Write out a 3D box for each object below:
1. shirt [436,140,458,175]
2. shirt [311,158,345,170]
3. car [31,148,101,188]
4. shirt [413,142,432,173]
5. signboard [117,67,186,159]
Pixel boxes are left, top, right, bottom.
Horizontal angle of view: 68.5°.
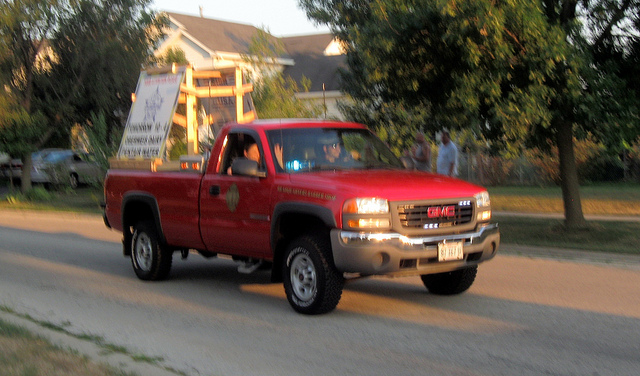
[{"bbox_3d":[3.769,-0.882,14.022,0.256,1.006,0.676,1,-1,-39],"label":"shirt"},{"bbox_3d":[0.149,-0.420,8.308,0.614,0.225,0.171,1,-1,-18],"label":"shirt"},{"bbox_3d":[-17.952,-1.354,33.110,4.000,2.697,1.705,1,-1,-38],"label":"car"},{"bbox_3d":[3.062,-0.944,14.155,0.526,0.914,0.838,1,-1,8],"label":"shirt"},{"bbox_3d":[-4.146,-1.858,11.550,1.950,2.296,0.708,0,-1,35],"label":"signboard"}]
